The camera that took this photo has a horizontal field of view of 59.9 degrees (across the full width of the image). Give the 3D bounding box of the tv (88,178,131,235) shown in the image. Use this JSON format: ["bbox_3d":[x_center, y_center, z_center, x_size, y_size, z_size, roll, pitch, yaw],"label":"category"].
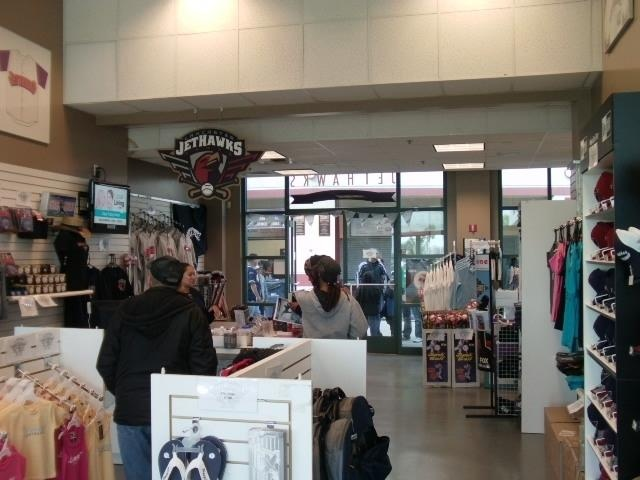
[{"bbox_3d":[-2.821,-0.437,7.393,0.062,0.653,0.679,1,-2,20],"label":"tv"}]

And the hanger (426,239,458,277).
[{"bbox_3d":[2.239,0.290,10.012,0.586,0.539,1.888,0,1,13],"label":"hanger"}]

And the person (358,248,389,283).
[{"bbox_3d":[1.073,0.593,11.266,0.619,1.034,0.320,0,36,12],"label":"person"}]

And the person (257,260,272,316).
[{"bbox_3d":[-1.150,0.957,11.571,0.314,1.111,0.110,0,1,9],"label":"person"}]

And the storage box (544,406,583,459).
[{"bbox_3d":[2.157,1.698,4.899,0.170,0.267,0.632,0,4,10],"label":"storage box"}]

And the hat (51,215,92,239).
[{"bbox_3d":[-3.030,-0.192,6.774,0.285,0.128,0.261,12,8,-18],"label":"hat"}]

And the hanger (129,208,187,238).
[{"bbox_3d":[-2.763,-0.322,9.362,0.277,0.369,1.449,0,1,10],"label":"hanger"}]

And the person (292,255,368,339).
[{"bbox_3d":[0.096,0.536,5.205,0.685,0.796,0.450,0,1,3],"label":"person"}]

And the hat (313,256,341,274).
[{"bbox_3d":[0.029,0.216,5.292,0.238,0.160,0.401,-1,1,-35],"label":"hat"}]

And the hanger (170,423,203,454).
[{"bbox_3d":[-0.728,1.096,3.075,0.101,0.155,0.152,-3,-16,21],"label":"hanger"}]

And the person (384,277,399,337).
[{"bbox_3d":[1.398,1.322,11.001,0.265,1.080,0.120,0,1,13],"label":"person"}]
